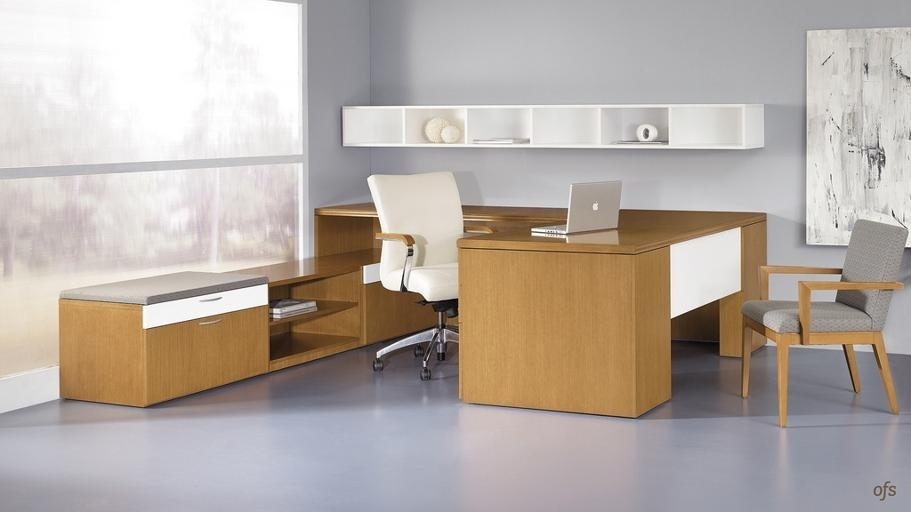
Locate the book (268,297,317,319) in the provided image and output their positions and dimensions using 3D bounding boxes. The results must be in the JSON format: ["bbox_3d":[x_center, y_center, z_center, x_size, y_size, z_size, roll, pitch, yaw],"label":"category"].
[{"bbox_3d":[-1.525,0.495,5.907,0.434,0.120,0.297,-3,10,-14],"label":"book"}]

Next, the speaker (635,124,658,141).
[{"bbox_3d":[1.998,-1.296,6.501,0.238,0.193,0.124,1,4,27],"label":"speaker"}]

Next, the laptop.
[{"bbox_3d":[0.976,-0.280,5.098,0.510,0.379,0.744,3,6,36],"label":"laptop"}]

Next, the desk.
[{"bbox_3d":[1.103,0.215,5.828,2.403,1.534,3.125,9,14,42],"label":"desk"}]

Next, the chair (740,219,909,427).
[{"bbox_3d":[2.777,0.448,4.686,1.085,1.363,0.804,-2,11,-6],"label":"chair"}]

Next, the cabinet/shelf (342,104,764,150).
[{"bbox_3d":[0.989,-1.394,6.690,4.307,0.515,0.579,2,11,15],"label":"cabinet/shelf"}]
